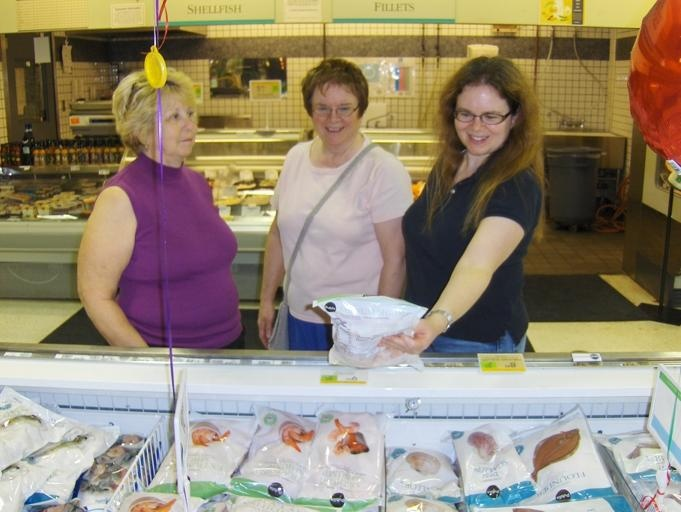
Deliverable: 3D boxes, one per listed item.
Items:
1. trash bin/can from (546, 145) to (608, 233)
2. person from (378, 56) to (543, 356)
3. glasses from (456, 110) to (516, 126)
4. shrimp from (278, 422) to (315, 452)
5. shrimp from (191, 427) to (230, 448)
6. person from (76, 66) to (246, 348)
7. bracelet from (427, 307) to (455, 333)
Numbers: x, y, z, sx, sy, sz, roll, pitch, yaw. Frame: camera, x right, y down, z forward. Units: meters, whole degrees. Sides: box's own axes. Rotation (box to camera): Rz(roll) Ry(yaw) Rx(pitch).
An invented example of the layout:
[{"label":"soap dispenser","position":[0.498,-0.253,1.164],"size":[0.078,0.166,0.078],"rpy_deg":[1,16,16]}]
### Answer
[{"label":"trash bin/can","position":[2.875,-0.821,7.208],"size":[0.853,1.072,0.788],"rpy_deg":[2,25,9]},{"label":"person","position":[0.355,-0.074,1.777],"size":[0.491,1.007,0.762],"rpy_deg":[3,18,18]},{"label":"glasses","position":[0.447,-0.429,1.816],"size":[0.174,0.046,0.048],"rpy_deg":[1,18,11]},{"label":"shrimp","position":[-0.120,0.473,1.571],"size":[0.073,0.024,0.066],"rpy_deg":[-7,60,-15]},{"label":"shrimp","position":[-0.361,0.487,1.589],"size":[0.062,0.027,0.048],"rpy_deg":[-5,9,-29]},{"label":"person","position":[-0.625,-0.091,1.992],"size":[0.251,1.022,0.550],"rpy_deg":[13,23,41]},{"label":"bracelet","position":[0.265,0.171,1.558],"size":[0.067,0.052,0.046],"rpy_deg":[0,17,9]}]
